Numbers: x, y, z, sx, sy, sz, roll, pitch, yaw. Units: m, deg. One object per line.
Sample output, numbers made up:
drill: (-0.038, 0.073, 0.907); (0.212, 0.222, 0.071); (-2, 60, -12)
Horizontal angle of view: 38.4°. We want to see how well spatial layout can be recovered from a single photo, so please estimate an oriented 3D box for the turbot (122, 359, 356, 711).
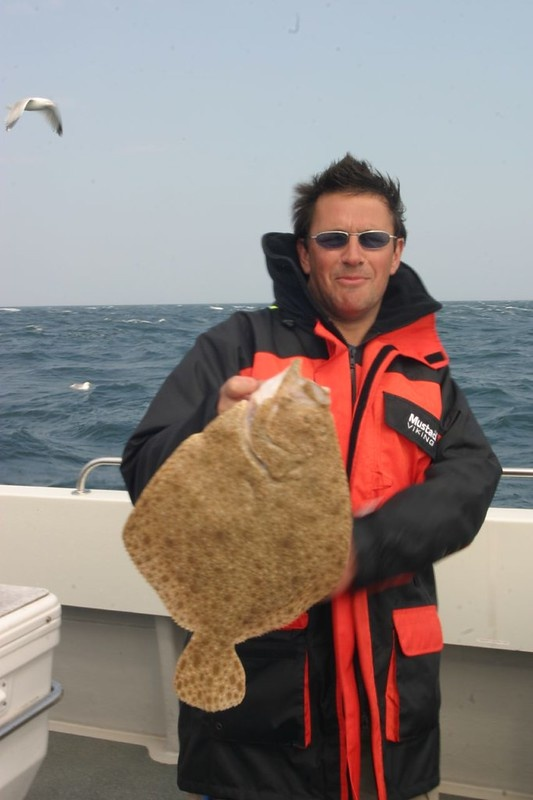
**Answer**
turbot: (-0.061, 0.276, 1.507); (0.441, 0.698, 0.080); (1, 3, -2)
